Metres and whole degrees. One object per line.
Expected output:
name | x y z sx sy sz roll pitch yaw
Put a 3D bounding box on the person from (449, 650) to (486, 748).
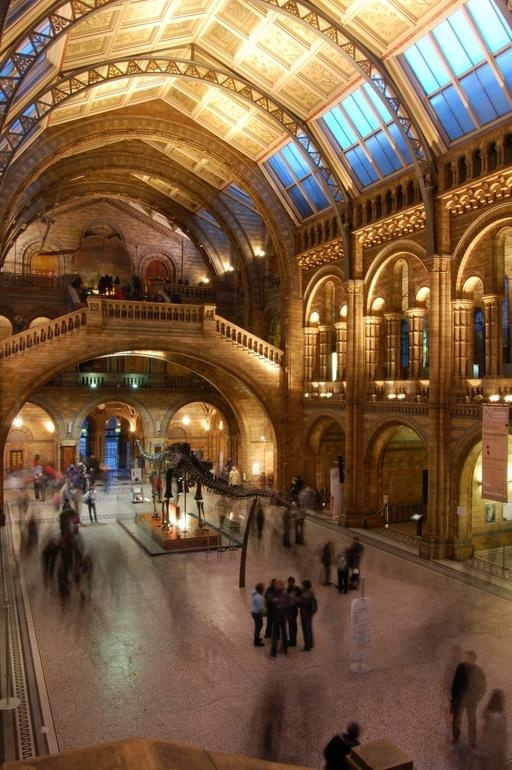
person | 2.599 3.769 7.086 0.396 1.001 0.687 -1 -3 24
